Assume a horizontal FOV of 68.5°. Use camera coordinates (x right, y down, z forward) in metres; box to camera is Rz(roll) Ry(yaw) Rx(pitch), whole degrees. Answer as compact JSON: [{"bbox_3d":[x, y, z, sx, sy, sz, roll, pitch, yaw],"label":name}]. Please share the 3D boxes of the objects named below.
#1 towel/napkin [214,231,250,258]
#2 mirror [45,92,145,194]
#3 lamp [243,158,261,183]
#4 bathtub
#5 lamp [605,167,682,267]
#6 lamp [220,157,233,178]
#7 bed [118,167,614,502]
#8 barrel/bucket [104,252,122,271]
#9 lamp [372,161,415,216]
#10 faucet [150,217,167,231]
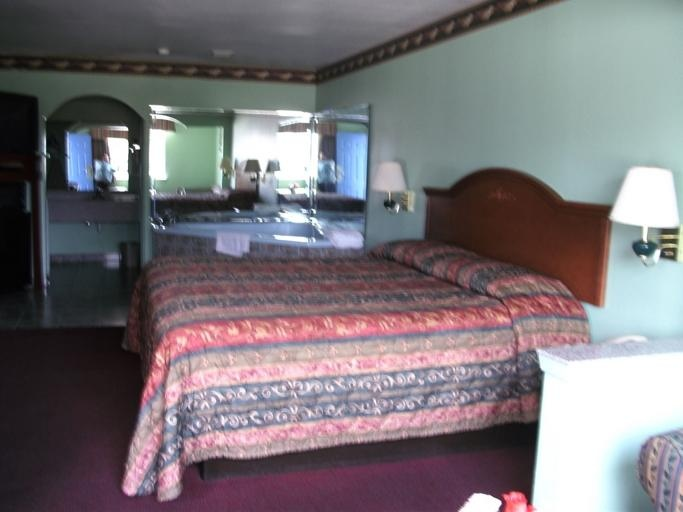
[{"bbox_3d":[-1.200,-0.129,5.609,0.318,0.365,0.101,8,0,1],"label":"towel/napkin"},{"bbox_3d":[-3.407,-1.563,6.785,1.294,1.659,0.080,0,11,-7],"label":"mirror"},{"bbox_3d":[-1.039,-0.998,5.846,0.212,0.317,0.224,-5,18,-14],"label":"lamp"},{"bbox_3d":[-0.929,-0.266,5.597,0.905,0.233,0.697,0,6,-5],"label":"bathtub"},{"bbox_3d":[1.498,-0.185,2.429,0.323,0.474,0.221,-2,10,-19],"label":"lamp"},{"bbox_3d":[-1.322,-1.020,5.761,0.134,0.208,0.050,-6,4,-5],"label":"lamp"},{"bbox_3d":[0.107,0.329,2.972,2.108,1.332,1.858,-5,17,-13],"label":"bed"},{"bbox_3d":[-3.341,0.086,7.271,0.382,0.235,0.216,3,0,34],"label":"barrel/bucket"},{"bbox_3d":[0.478,-0.608,4.477,0.423,0.529,0.373,-1,5,-30],"label":"lamp"},{"bbox_3d":[-2.056,-0.356,5.610,0.166,0.047,0.119,35,41,31],"label":"faucet"}]
